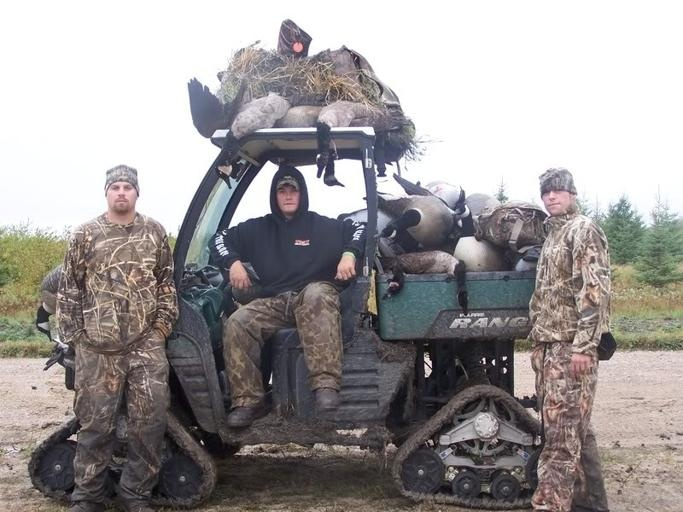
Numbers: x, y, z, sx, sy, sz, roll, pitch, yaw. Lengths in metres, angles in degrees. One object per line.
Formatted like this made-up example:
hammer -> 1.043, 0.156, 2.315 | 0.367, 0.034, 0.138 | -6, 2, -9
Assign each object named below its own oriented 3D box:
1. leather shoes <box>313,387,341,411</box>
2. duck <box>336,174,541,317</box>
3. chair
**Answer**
leather shoes -> -0.123, 1.195, 5.734 | 0.213, 0.181, 0.165 | 1, 1, 1
duck -> 1.021, -0.204, 6.426 | 1.402, 0.831, 1.537 | 2, -36, 13
chair -> -0.133, 0.513, 5.910 | 0.309, 0.765, 0.565 | 19, -14, -41
